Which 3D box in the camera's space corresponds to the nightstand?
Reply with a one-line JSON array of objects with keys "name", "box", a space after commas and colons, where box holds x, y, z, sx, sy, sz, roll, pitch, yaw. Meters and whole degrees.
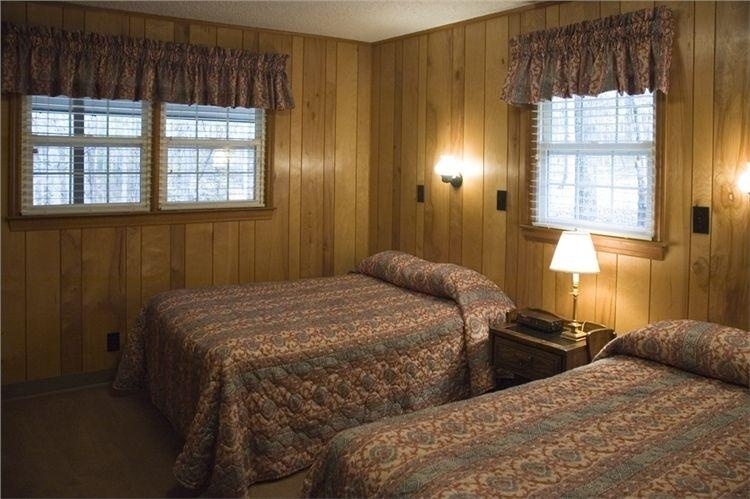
[{"name": "nightstand", "box": [1.259, 0.666, 4.317, 0.417, 0.404, 0.610, -2, 2, -36]}]

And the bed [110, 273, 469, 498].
[{"name": "bed", "box": [-0.414, 0.817, 4.243, 1.815, 0.625, 1.490, -3, 8, -34]}]

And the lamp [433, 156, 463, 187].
[{"name": "lamp", "box": [0.682, -0.705, 5.344, 0.237, 0.295, 0.139, 4, 11, 34]}]

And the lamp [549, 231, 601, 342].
[{"name": "lamp", "box": [1.497, 0.231, 4.346, 0.321, 0.742, 0.467, 3, 10, 27]}]
